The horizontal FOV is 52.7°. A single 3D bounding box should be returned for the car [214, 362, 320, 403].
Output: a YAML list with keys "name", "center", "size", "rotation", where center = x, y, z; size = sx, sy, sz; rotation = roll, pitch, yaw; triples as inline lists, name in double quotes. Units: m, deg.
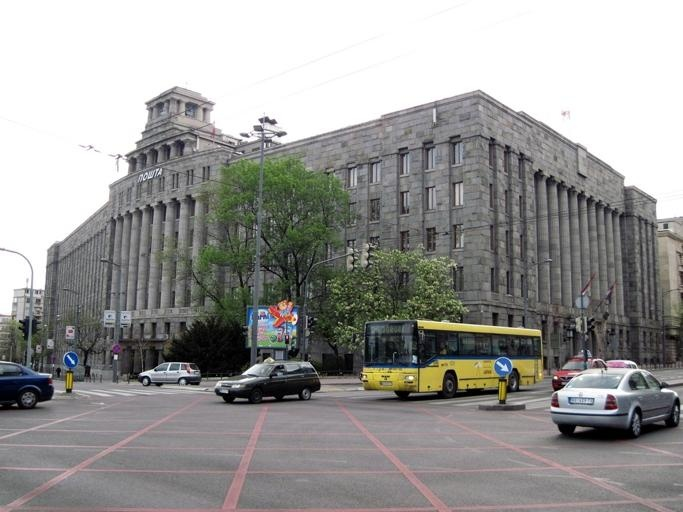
- name: "car"
  center: [-3.075, 5.327, 29.290]
  size: [1.840, 1.262, 3.972]
  rotation: [-8, -13, 42]

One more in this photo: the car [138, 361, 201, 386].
- name: "car"
  center: [-11.294, 7.879, 46.323]
  size: [3.622, 1.548, 2.077]
  rotation: [1, -11, -12]
